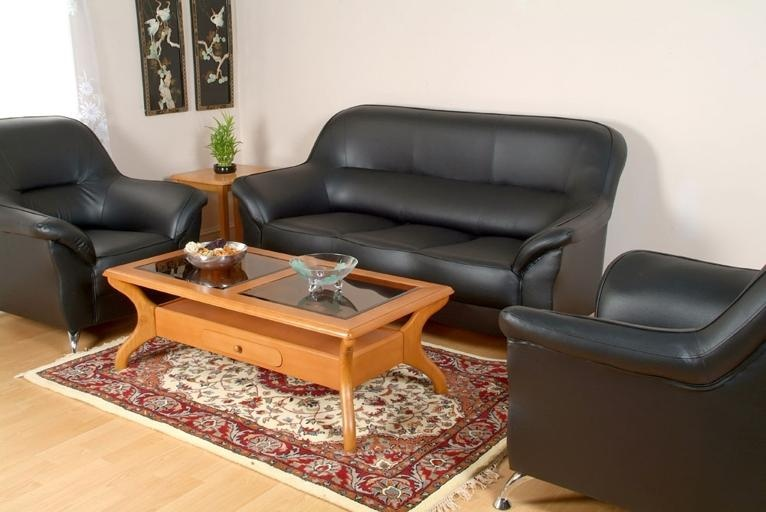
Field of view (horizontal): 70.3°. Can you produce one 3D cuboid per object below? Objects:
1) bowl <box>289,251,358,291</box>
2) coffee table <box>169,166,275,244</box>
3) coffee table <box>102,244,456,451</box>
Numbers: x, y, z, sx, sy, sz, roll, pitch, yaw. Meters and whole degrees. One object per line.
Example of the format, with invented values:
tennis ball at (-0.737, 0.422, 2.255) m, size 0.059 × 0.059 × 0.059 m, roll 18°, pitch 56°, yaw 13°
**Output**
bowl at (-0.303, 0.087, 2.758) m, size 0.318 × 0.113 × 0.308 m, roll -1°, pitch 20°, yaw 0°
coffee table at (-1.479, -0.436, 4.805) m, size 0.848 × 0.684 × 0.827 m, roll 12°, pitch 20°, yaw 37°
coffee table at (-0.357, 0.091, 2.734) m, size 1.970 × 0.590 × 0.894 m, roll 10°, pitch 20°, yaw 31°
